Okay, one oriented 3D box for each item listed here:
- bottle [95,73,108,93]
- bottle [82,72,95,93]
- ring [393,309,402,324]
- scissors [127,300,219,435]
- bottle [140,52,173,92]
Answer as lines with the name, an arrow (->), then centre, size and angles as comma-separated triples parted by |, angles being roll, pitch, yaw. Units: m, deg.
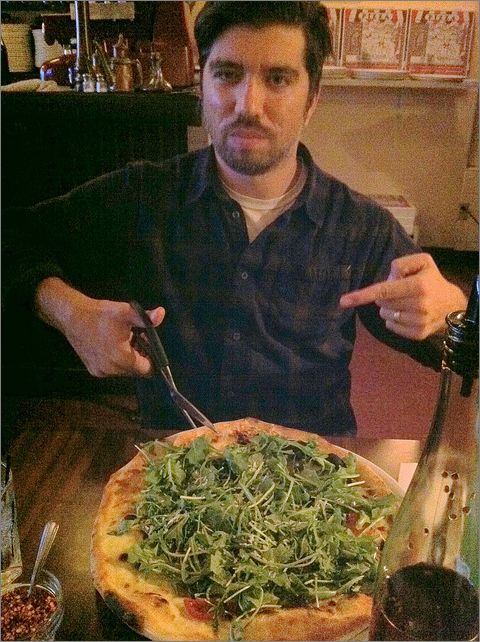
bottle -> -0.365, -0.627, 1.515 | 0.029, 0.048, 0.023 | 0, 19, -1
bottle -> -0.393, -0.618, 1.493 | 0.042, 0.045, 0.039 | -8, 41, -17
ring -> 0.329, -0.010, 1.209 | 0.020, 0.019, 0.015 | -9, 38, 7
scissors -> -0.157, 0.101, 1.443 | 0.093, 0.046, 0.398 | -24, 70, -39
bottle -> -0.228, -0.676, 1.560 | 0.088, 0.095, 0.091 | 29, 42, 30
